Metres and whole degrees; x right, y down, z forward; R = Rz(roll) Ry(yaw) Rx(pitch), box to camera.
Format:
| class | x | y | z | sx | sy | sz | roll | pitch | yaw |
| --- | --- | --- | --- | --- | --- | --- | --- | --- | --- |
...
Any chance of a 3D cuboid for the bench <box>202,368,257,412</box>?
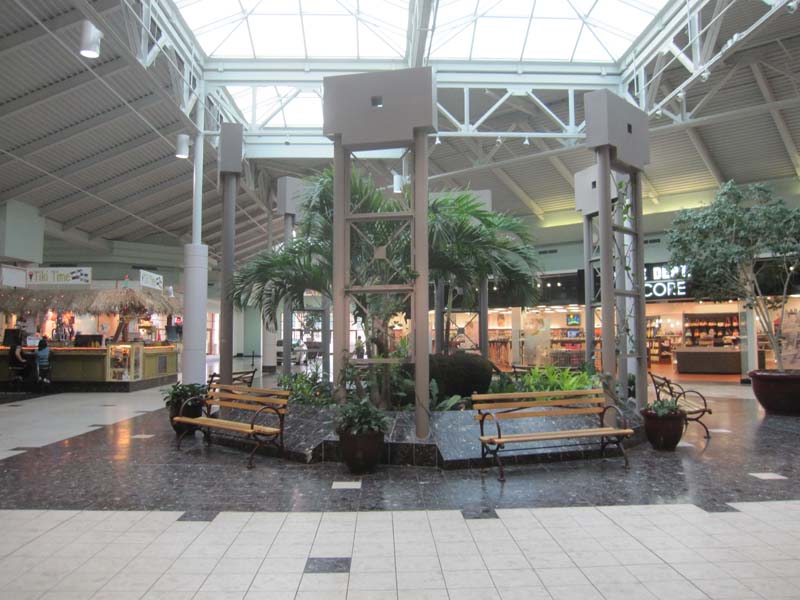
| class | x | y | z | sx | sy | sz | roll | pitch | yaw |
| --- | --- | --- | --- | --- | --- | --- | --- | --- | --- |
| bench | -2.711 | 1.430 | 8.922 | 0.371 | 0.514 | 0.875 | 0 | -3 | 27 |

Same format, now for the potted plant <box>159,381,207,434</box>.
| class | x | y | z | sx | sy | sz | roll | pitch | yaw |
| --- | --- | --- | --- | --- | --- | --- | --- | --- | --- |
| potted plant | -3.184 | 1.604 | 8.439 | 0.663 | 0.691 | 0.620 | -10 | -8 | 39 |

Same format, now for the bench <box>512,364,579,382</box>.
| class | x | y | z | sx | sy | sz | roll | pitch | yaw |
| --- | --- | --- | --- | --- | --- | --- | --- | --- | --- |
| bench | 2.485 | 1.281 | 9.518 | 1.076 | 0.303 | 1.651 | 0 | -1 | 11 |

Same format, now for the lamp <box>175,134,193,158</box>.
| class | x | y | z | sx | sy | sz | roll | pitch | yaw |
| --- | --- | --- | --- | --- | --- | --- | --- | --- | --- |
| lamp | -4.722 | -3.350 | 12.265 | 0.249 | 0.585 | 0.498 | 0 | -1 | -23 |

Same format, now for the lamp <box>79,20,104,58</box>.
| class | x | y | z | sx | sy | sz | roll | pitch | yaw |
| --- | --- | --- | --- | --- | --- | --- | --- | --- | --- |
| lamp | -4.702 | -3.955 | 8.608 | 0.276 | 0.642 | 0.484 | 0 | -1 | -28 |

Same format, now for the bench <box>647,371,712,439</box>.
| class | x | y | z | sx | sy | sz | roll | pitch | yaw |
| --- | --- | --- | --- | --- | --- | --- | --- | --- | --- |
| bench | 4.456 | 1.596 | 9.028 | 0.461 | 0.546 | 1.270 | -14 | -1 | 10 |

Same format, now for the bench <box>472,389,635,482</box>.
| class | x | y | z | sx | sy | sz | roll | pitch | yaw |
| --- | --- | --- | --- | --- | --- | --- | --- | --- | --- |
| bench | 1.872 | 1.593 | 6.881 | 1.914 | 0.777 | 0.746 | 0 | -3 | -17 |

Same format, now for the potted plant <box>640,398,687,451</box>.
| class | x | y | z | sx | sy | sz | roll | pitch | yaw |
| --- | --- | --- | --- | --- | --- | --- | --- | --- | --- |
| potted plant | 3.486 | 1.645 | 7.505 | 0.598 | 0.590 | 0.585 | 3 | -7 | -5 |

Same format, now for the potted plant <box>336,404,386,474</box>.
| class | x | y | z | sx | sy | sz | roll | pitch | yaw |
| --- | --- | --- | --- | --- | --- | --- | --- | --- | --- |
| potted plant | -0.340 | 1.621 | 6.747 | 0.713 | 0.806 | 0.691 | 0 | -11 | 1 |

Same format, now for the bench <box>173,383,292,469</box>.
| class | x | y | z | sx | sy | sz | roll | pitch | yaw |
| --- | --- | --- | --- | --- | --- | --- | --- | --- | --- |
| bench | -2.260 | 1.602 | 7.466 | 1.673 | 0.830 | 0.695 | -2 | -1 | 38 |

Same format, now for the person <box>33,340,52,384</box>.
| class | x | y | z | sx | sy | sz | roll | pitch | yaw |
| --- | --- | --- | --- | --- | --- | --- | --- | --- | --- |
| person | -9.013 | 1.535 | 14.268 | 0.336 | 1.170 | 0.629 | 0 | -1 | -34 |
